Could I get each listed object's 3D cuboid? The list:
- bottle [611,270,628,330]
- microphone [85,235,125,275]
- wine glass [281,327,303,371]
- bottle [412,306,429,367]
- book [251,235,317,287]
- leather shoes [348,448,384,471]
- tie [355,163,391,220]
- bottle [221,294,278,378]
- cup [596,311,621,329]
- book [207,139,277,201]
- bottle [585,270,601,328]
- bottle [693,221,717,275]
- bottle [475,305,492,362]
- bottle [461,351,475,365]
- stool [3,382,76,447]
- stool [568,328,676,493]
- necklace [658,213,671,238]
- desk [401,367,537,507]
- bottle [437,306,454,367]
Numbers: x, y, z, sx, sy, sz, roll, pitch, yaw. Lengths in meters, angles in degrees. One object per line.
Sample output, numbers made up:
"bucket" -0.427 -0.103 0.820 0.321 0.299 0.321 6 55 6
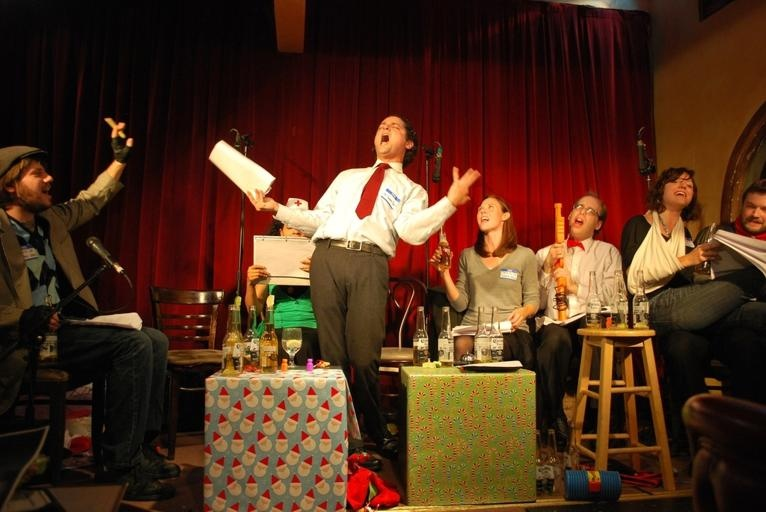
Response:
"bottle" 1.637 0.317 4.255 0.115 0.429 0.122 0 -13 0
"microphone" -2.098 0.007 4.612 0.092 0.362 0.082 -46 -17 19
"wine glass" -0.595 0.594 3.995 0.119 0.240 0.614 0 -6 -10
"bottle" 0.259 0.542 4.217 0.097 0.397 0.340 -2 -6 5
"book" -0.717 0.041 4.501 0.344 0.289 0.040 1 -10 -6
"leather shoes" -0.119 1.339 4.039 0.121 0.120 0.271 3 -17 -13
"tie" -0.074 -0.437 4.292 0.119 0.483 0.119 9 -41 19
"bottle" -0.791 0.498 3.650 0.272 0.399 0.283 -1 -6 0
"cup" 1.571 0.449 4.256 0.117 0.133 0.117 1 -6 0
"book" -1.112 -0.642 4.730 0.598 0.167 0.229 38 -21 23
"bottle" 1.472 0.305 4.308 0.102 0.382 0.191 -3 -6 19
"bottle" 2.415 -0.034 4.604 0.116 0.403 0.283 12 9 31
"bottle" 0.670 0.524 4.041 0.100 0.342 0.102 -7 -4 -1
"bottle" 0.569 0.678 4.058 0.077 0.055 0.076 1 -3 0
"stool" -2.092 0.921 3.663 0.388 0.481 0.384 1 -6 -10
"stool" 1.583 0.992 4.150 0.653 0.977 0.648 5 -7 -32
"necklace" 2.215 -0.252 4.821 0.141 0.212 0.049 1 -11 14
"desk" 0.592 1.093 3.940 0.746 0.802 0.774 -3 -7 26
"bottle" 0.412 0.534 4.098 0.092 0.381 0.253 -2 -6 4
